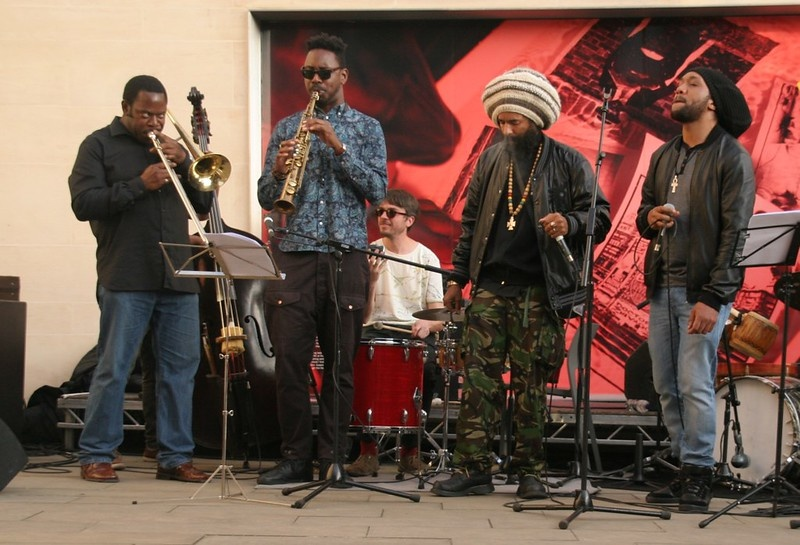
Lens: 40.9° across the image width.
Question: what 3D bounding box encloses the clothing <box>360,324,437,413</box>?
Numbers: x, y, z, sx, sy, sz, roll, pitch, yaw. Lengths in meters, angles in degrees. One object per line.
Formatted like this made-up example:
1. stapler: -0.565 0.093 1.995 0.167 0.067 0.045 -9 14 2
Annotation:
1. clothing: -0.040 0.702 8.944 0.752 0.683 0.695 -7 36 -8

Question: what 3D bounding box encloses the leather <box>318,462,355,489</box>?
1. leather: -0.456 1.460 7.709 0.349 0.222 0.124 -1 32 -2

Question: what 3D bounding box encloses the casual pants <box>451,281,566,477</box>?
1. casual pants: 0.770 0.773 7.640 0.798 1.313 0.326 -2 -11 5

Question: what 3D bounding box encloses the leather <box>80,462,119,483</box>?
1. leather: -2.200 1.473 7.863 0.288 0.126 0.119 -8 -10 35

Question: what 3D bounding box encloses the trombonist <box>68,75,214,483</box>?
1. trombonist: -1.947 0.059 8.054 1.004 2.977 0.838 0 -11 -1

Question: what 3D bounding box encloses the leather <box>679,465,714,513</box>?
1. leather: 2.044 1.502 7.448 0.244 0.323 0.248 -4 -12 15

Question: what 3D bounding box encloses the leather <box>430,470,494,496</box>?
1. leather: 0.464 1.494 7.594 0.467 0.215 0.160 4 -8 -12

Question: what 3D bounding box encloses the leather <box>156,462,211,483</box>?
1. leather: -1.617 1.497 8.017 0.411 0.164 0.145 -4 -12 17

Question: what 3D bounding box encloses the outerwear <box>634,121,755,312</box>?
1. outerwear: 2.088 -0.368 7.623 0.810 1.312 0.281 -9 -14 38

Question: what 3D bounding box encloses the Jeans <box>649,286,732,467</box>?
1. Jeans: 2.021 0.735 7.599 0.359 1.266 0.610 10 -16 -44

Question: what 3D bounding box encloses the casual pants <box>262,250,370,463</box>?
1. casual pants: -0.614 0.607 7.867 0.774 1.531 0.417 0 -11 -3

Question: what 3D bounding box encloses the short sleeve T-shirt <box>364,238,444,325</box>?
1. short sleeve T-shirt: -0.011 0.106 9.124 0.745 0.687 0.394 9 25 5

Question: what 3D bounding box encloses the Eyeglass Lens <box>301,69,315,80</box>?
1. Eyeglass Lens: -0.667 -1.455 7.906 0.085 0.077 0.034 4 13 20
